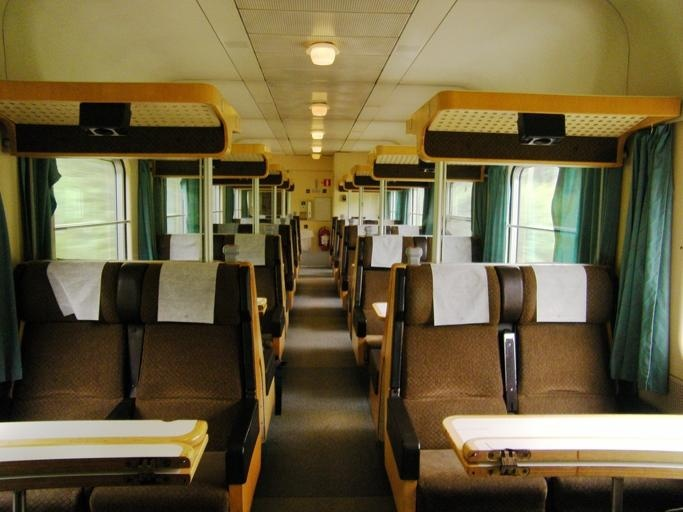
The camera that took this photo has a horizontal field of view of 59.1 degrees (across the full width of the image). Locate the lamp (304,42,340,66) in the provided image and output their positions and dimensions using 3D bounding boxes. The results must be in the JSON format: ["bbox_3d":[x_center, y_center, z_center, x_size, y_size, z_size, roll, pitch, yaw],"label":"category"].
[{"bbox_3d":[-0.183,-1.906,5.676,0.304,0.167,0.317,-1,5,0],"label":"lamp"}]
